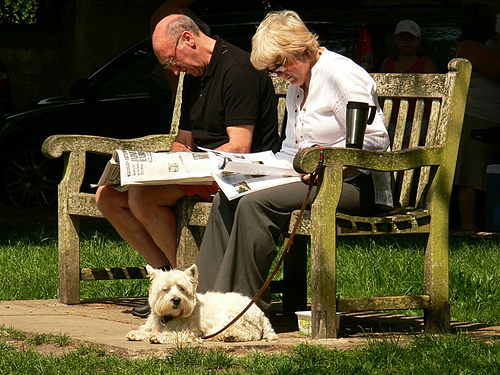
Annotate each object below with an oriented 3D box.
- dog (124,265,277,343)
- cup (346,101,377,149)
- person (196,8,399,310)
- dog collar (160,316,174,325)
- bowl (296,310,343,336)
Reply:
[{"bbox_3d":[-0.283,0.729,4.874,0.779,0.375,0.473,5,-10,-16],"label":"dog"},{"bbox_3d":[0.705,-0.395,4.978,0.149,0.295,0.230,4,9,38],"label":"cup"},{"bbox_3d":[0.372,-0.186,5.069,0.945,1.935,1.161,5,10,43],"label":"person"},{"bbox_3d":[-0.517,0.818,4.848,0.062,0.025,0.049,-29,14,11],"label":"dog collar"},{"bbox_3d":[0.394,0.875,5.076,0.175,0.124,0.259,0,2,-2],"label":"bowl"}]
